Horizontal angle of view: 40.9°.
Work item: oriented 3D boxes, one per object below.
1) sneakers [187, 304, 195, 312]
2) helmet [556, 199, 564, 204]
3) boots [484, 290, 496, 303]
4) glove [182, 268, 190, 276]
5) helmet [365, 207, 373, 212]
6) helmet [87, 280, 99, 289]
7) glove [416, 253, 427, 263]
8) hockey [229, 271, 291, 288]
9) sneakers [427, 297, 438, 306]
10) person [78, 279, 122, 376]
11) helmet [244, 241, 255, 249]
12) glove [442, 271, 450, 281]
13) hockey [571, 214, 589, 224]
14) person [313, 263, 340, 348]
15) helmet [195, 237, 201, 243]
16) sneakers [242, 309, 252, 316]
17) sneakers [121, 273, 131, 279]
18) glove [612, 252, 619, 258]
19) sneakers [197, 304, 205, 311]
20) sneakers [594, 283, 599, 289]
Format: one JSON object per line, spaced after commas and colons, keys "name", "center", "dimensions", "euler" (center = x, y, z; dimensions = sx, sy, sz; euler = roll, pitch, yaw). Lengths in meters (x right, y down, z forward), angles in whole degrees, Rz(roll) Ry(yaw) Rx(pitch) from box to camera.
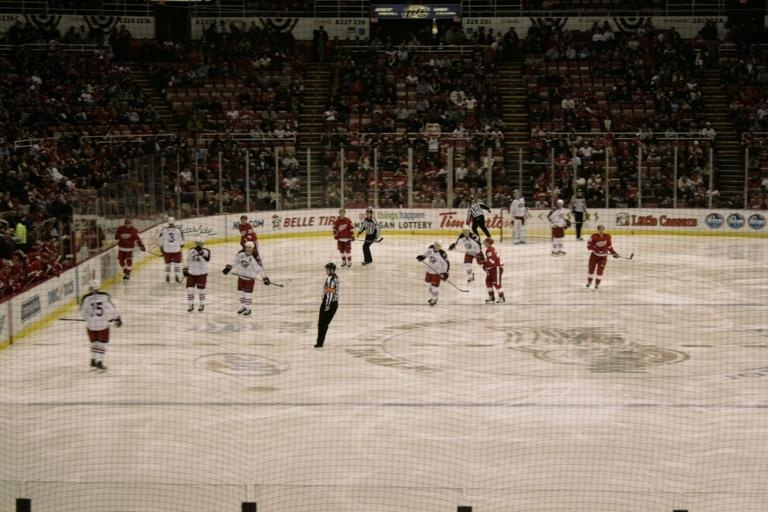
{"name": "sneakers", "center": [-5.378, 1.440, 28.516], "dimensions": [0.173, 0.230, 0.258], "euler": [-3, 10, -13]}
{"name": "helmet", "center": [6.026, -1.829, 35.451], "dimensions": [0.253, 0.234, 0.322], "euler": [1, 7, -4]}
{"name": "boots", "center": [2.923, 1.208, 29.491], "dimensions": [0.453, 0.376, 0.207], "euler": [-1, 3, -3]}
{"name": "glove", "center": [-5.406, 0.463, 28.160], "dimensions": [0.184, 0.250, 0.419], "euler": [-3, 9, -12]}
{"name": "helmet", "center": [-0.516, -1.444, 33.792], "dimensions": [0.293, 0.238, 0.267], "euler": [-1, 17, -7]}
{"name": "helmet", "center": [-6.802, 0.673, 24.065], "dimensions": [0.271, 0.220, 0.252], "euler": [0, -1, 4]}
{"name": "glove", "center": [1.078, 0.094, 30.998], "dimensions": [0.360, 0.160, 0.477], "euler": [2, 5, 12]}
{"name": "hockey", "center": [-3.692, 0.737, 30.281], "dimensions": [1.307, 0.155, 0.178], "euler": [16, 7, 2]}
{"name": "sneakers", "center": [1.355, 1.315, 29.410], "dimensions": [0.255, 0.156, 0.396], "euler": [0, 3, 6]}
{"name": "person", "center": [-6.731, 1.594, 24.393], "dimensions": [0.867, 2.126, 0.728], "euler": [-4, 11, -16]}
{"name": "helmet", "center": [-3.803, -0.301, 28.772], "dimensions": [0.313, 0.214, 0.280], "euler": [-4, -13, 2]}
{"name": "glove", "center": [1.699, 0.575, 29.285], "dimensions": [0.283, 0.091, 0.370], "euler": [1, -11, 3]}
{"name": "hockey", "center": [7.129, -1.373, 37.791], "dimensions": [0.511, 0.474, 0.322], "euler": [27, 29, 35]}
{"name": "person", "center": [-1.486, 1.214, 25.744], "dimensions": [0.633, 2.134, 1.358], "euler": [-2, 10, -4]}
{"name": "helmet", "center": [-5.089, -0.412, 28.170], "dimensions": [0.156, 0.098, 0.182], "euler": [-2, 9, -7]}
{"name": "sneakers", "center": [-3.787, 1.547, 28.145], "dimensions": [0.181, 0.196, 0.505], "euler": [0, -5, 3]}
{"name": "sneakers", "center": [-7.933, 0.627, 31.622], "dimensions": [0.124, 0.223, 0.336], "euler": [-1, 12, -27]}
{"name": "glove", "center": [6.901, -0.012, 30.864], "dimensions": [0.275, 0.117, 0.362], "euler": [6, -2, 8]}
{"name": "sneakers", "center": [-5.124, 1.455, 28.639], "dimensions": [0.225, 0.211, 0.564], "euler": [0, 1, -2]}
{"name": "sneakers", "center": [6.293, 0.921, 30.805], "dimensions": [0.129, 0.163, 0.273], "euler": [2, 9, 18]}
